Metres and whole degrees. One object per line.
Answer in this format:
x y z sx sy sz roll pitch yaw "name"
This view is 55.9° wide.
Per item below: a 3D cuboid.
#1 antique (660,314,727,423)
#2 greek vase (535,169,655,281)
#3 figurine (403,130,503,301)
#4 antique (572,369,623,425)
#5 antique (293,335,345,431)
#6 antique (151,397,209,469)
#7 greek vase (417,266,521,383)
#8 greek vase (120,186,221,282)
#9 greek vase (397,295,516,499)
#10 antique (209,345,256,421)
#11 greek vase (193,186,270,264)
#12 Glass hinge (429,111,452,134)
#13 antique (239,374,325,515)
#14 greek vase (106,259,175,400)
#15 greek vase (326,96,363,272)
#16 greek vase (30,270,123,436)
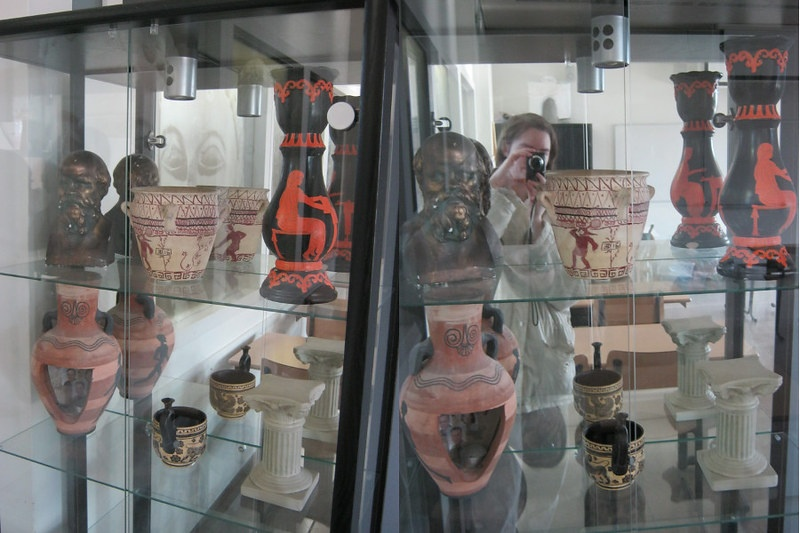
0.515 0.191 1.335 0.085 0.165 0.086 -5 -10 34 "antique"
0.359 -0.075 1.336 0.179 0.179 0.179 0 9 22 "greek vase"
0.088 -0.099 1.350 0.165 0.276 0.149 -3 11 -10 "figurine"
0.341 0.223 1.303 0.080 0.075 0.091 0 1 20 "antique"
-0.143 0.214 1.363 0.100 0.177 0.033 3 5 24 "antique"
-0.420 0.317 1.454 0.096 0.136 0.129 1 4 5 "antique"
0.108 0.099 1.422 0.198 0.203 0.154 1 0 -2 "greek vase"
-0.425 -0.062 1.442 0.208 0.166 0.129 1 6 -9 "greek vase"
0.104 0.231 1.386 0.229 0.361 0.215 -6 12 -9 "greek vase"
-0.320 0.223 1.478 0.073 0.119 0.128 4 8 7 "antique"
-0.297 -0.076 1.404 0.130 0.136 0.134 1 2 2 "greek vase"
0.071 -0.249 1.319 0.032 0.026 0.012 1 -2 10 "Glass hinge"
-0.221 0.331 1.427 0.128 0.196 0.136 6 8 17 "antique"
-0.531 0.132 1.506 0.158 0.249 0.140 2 10 23 "greek vase"
-0.092 -0.140 1.295 0.036 0.305 0.082 -1 5 -28 "greek vase"
-0.685 0.197 1.574 0.196 0.318 0.171 1 6 -38 "greek vase"
